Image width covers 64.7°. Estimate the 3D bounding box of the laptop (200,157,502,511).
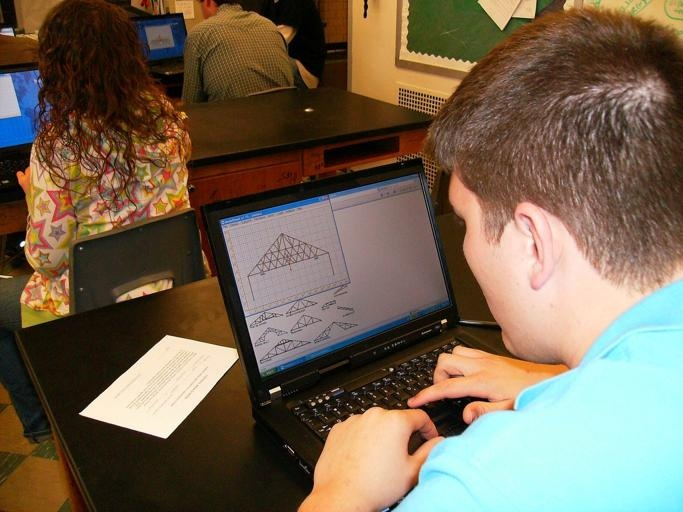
[{"bbox_3d":[-0.049,0.046,1.178,0.606,0.552,0.442,-19,29,-31],"label":"laptop"}]
